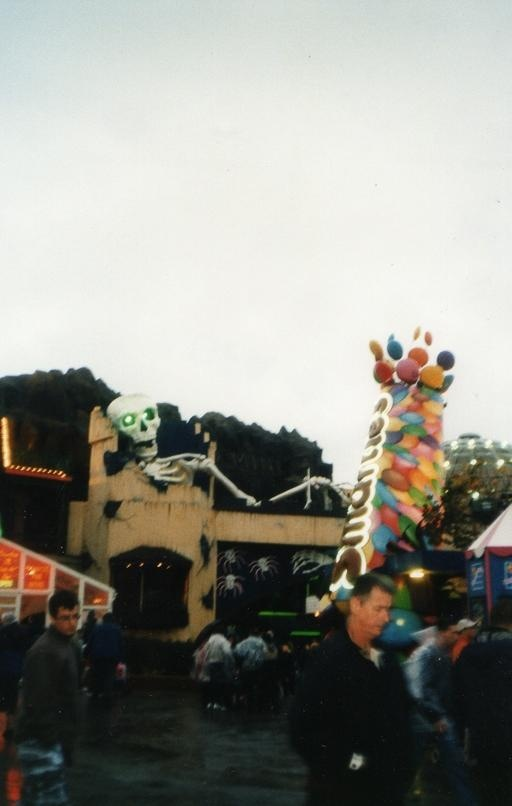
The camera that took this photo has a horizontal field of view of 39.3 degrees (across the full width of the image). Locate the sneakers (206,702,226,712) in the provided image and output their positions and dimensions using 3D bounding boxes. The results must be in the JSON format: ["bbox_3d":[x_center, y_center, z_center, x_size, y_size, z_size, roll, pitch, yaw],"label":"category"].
[{"bbox_3d":[-0.807,5.910,13.933,0.231,0.081,0.167,4,3,32],"label":"sneakers"}]

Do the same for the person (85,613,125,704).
[{"bbox_3d":[-2.237,3.733,10.516,0.562,1.103,1.421,5,-11,-10],"label":"person"}]
